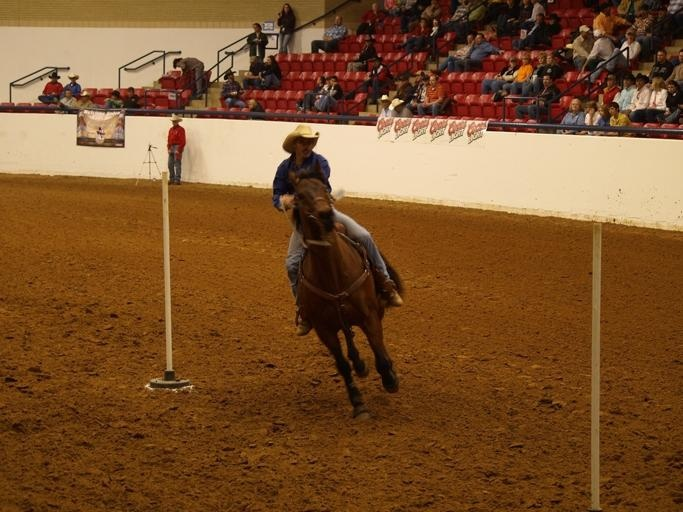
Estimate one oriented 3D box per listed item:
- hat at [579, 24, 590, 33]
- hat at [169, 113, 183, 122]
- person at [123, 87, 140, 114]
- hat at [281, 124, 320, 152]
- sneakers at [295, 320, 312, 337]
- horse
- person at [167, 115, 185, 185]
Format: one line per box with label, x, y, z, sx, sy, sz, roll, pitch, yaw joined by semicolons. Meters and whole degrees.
hat;7.510;-6.855;21.770;0.340;0.270;0.646;6;10;15
hat;-5.940;-4.889;25.449;0.424;0.157;0.454;1;-5;-2
person;-8.485;-6.287;28.598;0.630;0.856;1.535;1;10;-16
hat;-0.496;-1.407;8.358;0.451;0.222;0.557;4;-21;-14
sneakers;-0.488;0.925;9.032;0.171;0.190;0.076;11;-5;1
horse;-0.023;0.402;7.885;1.197;2.746;0.787;-5;14;-38
person;-6.042;-3.787;25.872;0.657;2.453;0.936;2;11;-13
